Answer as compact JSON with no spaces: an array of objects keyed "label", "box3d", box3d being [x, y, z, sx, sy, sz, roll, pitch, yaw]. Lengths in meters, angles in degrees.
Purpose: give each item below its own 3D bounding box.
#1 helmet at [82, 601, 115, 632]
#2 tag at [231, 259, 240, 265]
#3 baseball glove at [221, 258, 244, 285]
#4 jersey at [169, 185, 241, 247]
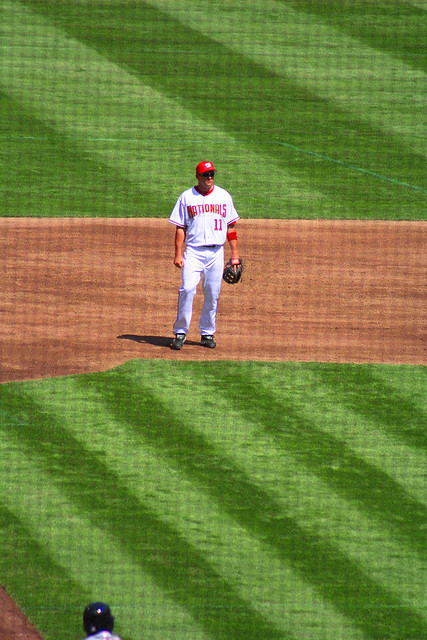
[{"label":"helmet","box3d":[-0.544,1.409,5.950,0.115,0.147,0.139,4,-19,-8]},{"label":"tag","box3d":[0.199,-0.493,10.615,0.039,0.044,0.012,-3,11,6]},{"label":"baseball glove","box3d":[0.193,-0.415,10.757,0.183,0.280,0.120,0,7,21]},{"label":"jersey","box3d":[-0.064,-0.853,10.416,0.558,0.495,0.338,16,-31,-4]}]
